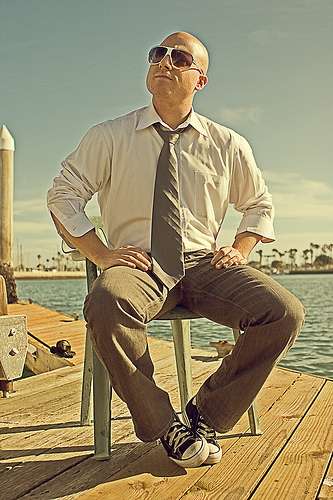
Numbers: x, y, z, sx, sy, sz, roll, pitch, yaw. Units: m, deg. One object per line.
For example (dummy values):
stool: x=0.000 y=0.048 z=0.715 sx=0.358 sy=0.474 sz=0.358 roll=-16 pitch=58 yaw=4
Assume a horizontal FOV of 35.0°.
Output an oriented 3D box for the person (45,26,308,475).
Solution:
person: x=0.039 y=-0.098 z=2.187 sx=1.024 sy=1.761 sz=0.855 roll=-2 pitch=-1 yaw=-12

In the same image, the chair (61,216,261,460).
chair: x=-0.080 y=0.325 z=2.346 sx=0.837 sy=0.927 sz=0.857 roll=-1 pitch=-1 yaw=-27

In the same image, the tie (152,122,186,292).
tie: x=0.011 y=-0.144 z=2.107 sx=0.167 sy=0.740 sz=0.055 roll=5 pitch=33 yaw=6

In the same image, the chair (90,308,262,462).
chair: x=-0.001 y=0.521 z=2.360 sx=0.717 sy=0.741 sz=0.613 roll=-4 pitch=-6 yaw=14
